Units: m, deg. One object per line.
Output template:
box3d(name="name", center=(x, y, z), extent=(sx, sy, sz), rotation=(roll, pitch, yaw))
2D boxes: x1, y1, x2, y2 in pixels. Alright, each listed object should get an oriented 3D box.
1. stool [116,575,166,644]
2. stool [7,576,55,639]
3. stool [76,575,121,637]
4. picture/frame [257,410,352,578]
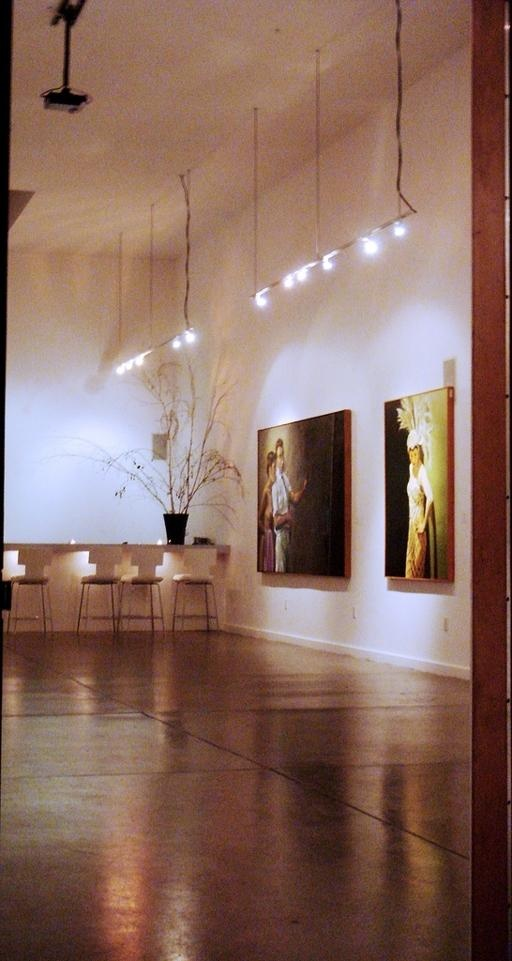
box3d(name="stool", center=(-1.684, 1.821, 10.933), extent=(0.585, 1.621, 0.749), rotation=(1, -3, -12))
box3d(name="stool", center=(-3.147, 1.677, 10.404), extent=(0.624, 0.819, 0.742), rotation=(1, -1, -6))
box3d(name="stool", center=(-2.227, 1.713, 10.654), extent=(0.583, 0.829, 0.535), rotation=(1, -1, -16))
box3d(name="picture/frame", center=(0.519, 0.204, 9.031), extent=(0.102, 1.876, 2.231), rotation=(1, -1, -25))
